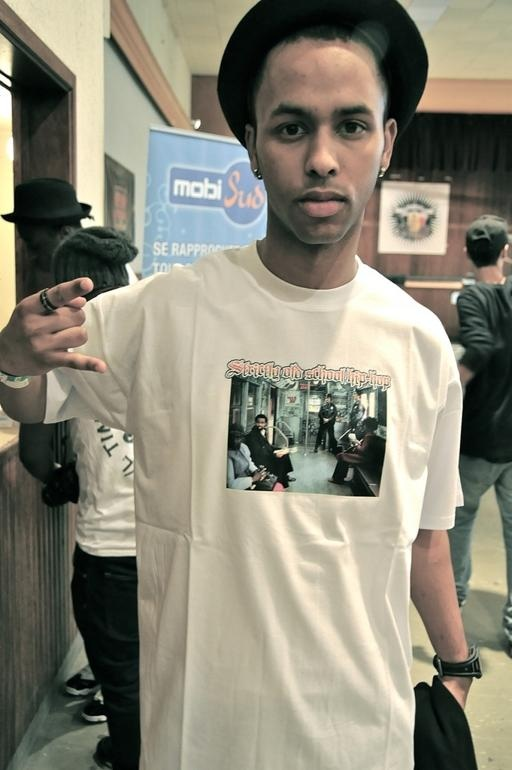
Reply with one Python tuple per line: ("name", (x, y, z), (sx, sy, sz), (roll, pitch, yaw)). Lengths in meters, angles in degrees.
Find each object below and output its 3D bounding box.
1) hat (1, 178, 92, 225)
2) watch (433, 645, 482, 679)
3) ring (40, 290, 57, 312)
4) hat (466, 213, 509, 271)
("hat", (-0.768, -0.654, 2.444), (0.206, 0.092, 0.245), (1, 14, -1))
("watch", (0.335, 0.458, 1.146), (0.073, 0.045, 0.072), (-7, 7, -4))
("ring", (-0.268, -0.107, 0.874), (0.019, 0.025, 0.025), (-15, -12, 10))
("hat", (0.936, -0.606, 2.910), (0.174, 0.217, 0.234), (4, 41, 9))
